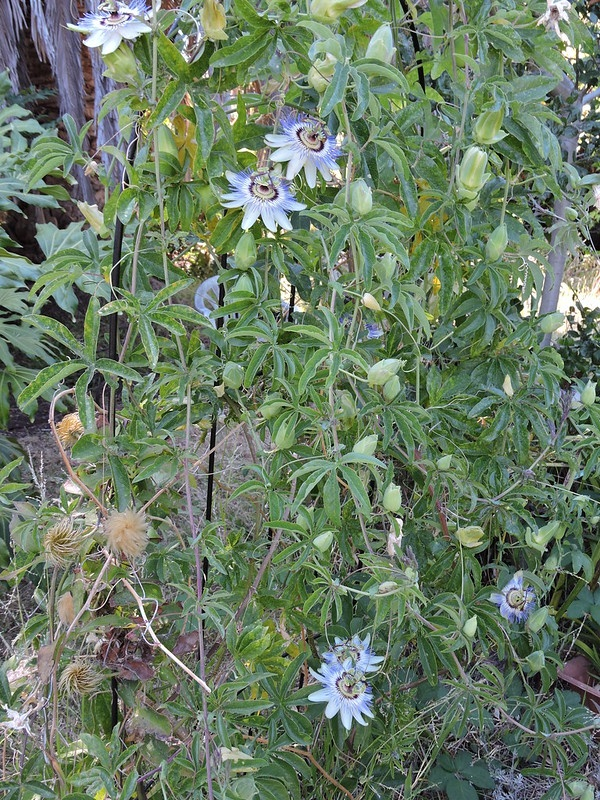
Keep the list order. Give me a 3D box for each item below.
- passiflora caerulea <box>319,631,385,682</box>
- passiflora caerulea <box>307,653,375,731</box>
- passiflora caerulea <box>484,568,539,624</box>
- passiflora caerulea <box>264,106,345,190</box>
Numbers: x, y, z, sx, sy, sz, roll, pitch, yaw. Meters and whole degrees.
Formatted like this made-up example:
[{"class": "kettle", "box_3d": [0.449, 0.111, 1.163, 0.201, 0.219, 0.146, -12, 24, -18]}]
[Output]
[{"class": "passiflora caerulea", "box_3d": [0.063, 0.321, 0.930, 0.078, 0.070, 0.037, 11, -1, 1]}, {"class": "passiflora caerulea", "box_3d": [0.069, 0.376, 0.940, 0.096, 0.034, 0.088, -5, 49, -37]}, {"class": "passiflora caerulea", "box_3d": [0.361, 0.333, 1.247, 0.094, 0.098, 0.039, -7, 13, -13]}, {"class": "passiflora caerulea", "box_3d": [0.005, -0.317, 0.916, 0.105, 0.034, 0.098, 11, 76, -23]}]
